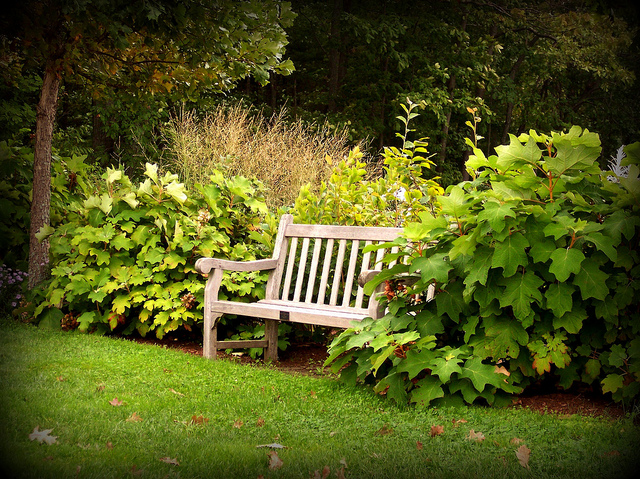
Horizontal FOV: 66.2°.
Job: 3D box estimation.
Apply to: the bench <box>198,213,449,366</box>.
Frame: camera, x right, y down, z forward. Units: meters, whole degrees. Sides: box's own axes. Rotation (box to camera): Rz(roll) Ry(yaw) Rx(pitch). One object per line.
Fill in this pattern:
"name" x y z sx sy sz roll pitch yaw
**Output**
"bench" -0.053 0.489 4.125 0.849 1.415 2.014 3 -3 -42
